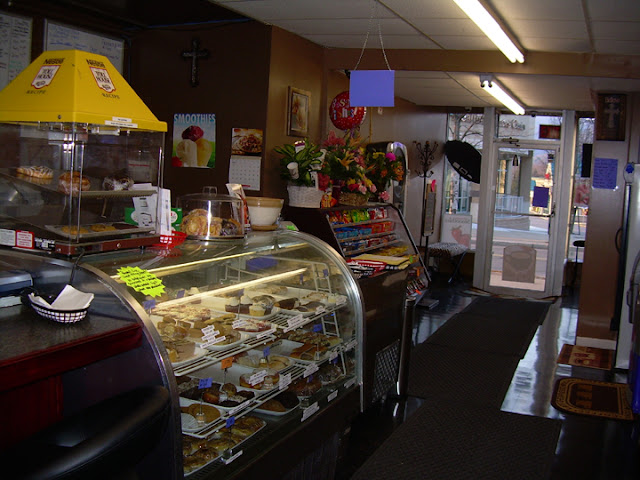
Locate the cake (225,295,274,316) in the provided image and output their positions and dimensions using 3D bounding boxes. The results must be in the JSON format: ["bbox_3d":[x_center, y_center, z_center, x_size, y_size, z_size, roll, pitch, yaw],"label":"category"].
[{"bbox_3d":[-0.379,0.366,2.514,0.155,0.049,0.153,-3,7,-37],"label":"cake"}]

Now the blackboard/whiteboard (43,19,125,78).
[{"bbox_3d":[-2.518,-2.074,4.771,0.716,0.013,0.408,5,-23,-32],"label":"blackboard/whiteboard"}]

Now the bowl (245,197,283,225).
[{"bbox_3d":[-0.379,-0.192,3.117,0.206,0.136,0.199,0,0,0],"label":"bowl"}]

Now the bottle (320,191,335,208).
[{"bbox_3d":[0.074,-0.419,4.731,0.081,0.069,0.179,14,25,-3],"label":"bottle"}]

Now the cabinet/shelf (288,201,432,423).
[{"bbox_3d":[0.413,0.456,4.489,1.023,1.843,1.997,2,2,25],"label":"cabinet/shelf"}]

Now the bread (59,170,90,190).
[{"bbox_3d":[-1.071,-0.262,1.967,0.094,0.058,0.070,16,2,22],"label":"bread"}]

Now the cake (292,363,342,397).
[{"bbox_3d":[-0.020,0.884,2.848,0.147,0.056,0.252,13,15,36],"label":"cake"}]

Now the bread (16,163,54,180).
[{"bbox_3d":[-1.232,-0.293,1.949,0.164,0.060,0.034,5,8,12],"label":"bread"}]

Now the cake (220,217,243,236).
[{"bbox_3d":[-0.515,-0.073,2.611,0.084,0.108,0.037,7,-9,-37],"label":"cake"}]

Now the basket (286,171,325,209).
[{"bbox_3d":[-0.149,-0.505,4.540,0.397,0.352,0.332,2,1,-31],"label":"basket"}]

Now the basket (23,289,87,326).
[{"bbox_3d":[-0.986,0.262,1.746,0.201,0.080,0.184,10,9,33],"label":"basket"}]
